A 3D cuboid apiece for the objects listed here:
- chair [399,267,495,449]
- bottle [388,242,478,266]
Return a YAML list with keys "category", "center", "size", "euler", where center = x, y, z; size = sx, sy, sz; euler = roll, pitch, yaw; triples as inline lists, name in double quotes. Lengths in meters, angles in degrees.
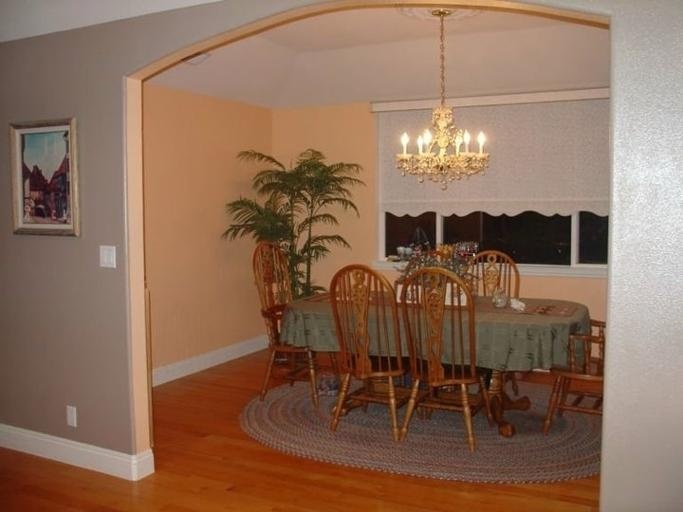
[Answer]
- category: "chair"
  center: [0.763, 0.687, 3.817]
  size: [0.650, 1.301, 0.865]
  euler: [0, 7, 11]
- category: "bottle"
  center: [0.977, -0.051, 5.506]
  size: [0.591, 0.170, 0.421]
  euler: [0, 2, 16]
